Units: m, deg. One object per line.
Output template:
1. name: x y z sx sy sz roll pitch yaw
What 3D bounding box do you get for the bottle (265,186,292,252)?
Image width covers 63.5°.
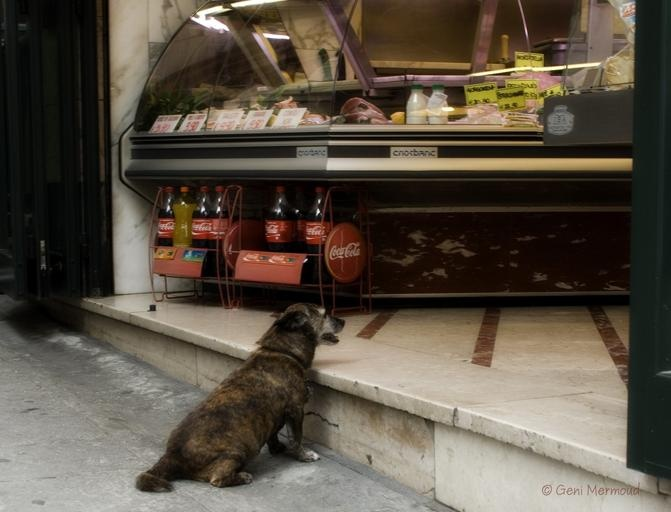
1. bottle: -0.396 -0.274 3.922 0.184 0.464 0.150 -2 6 -17

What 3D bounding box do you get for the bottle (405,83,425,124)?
1. bottle: 0.534 -0.990 3.554 0.133 0.265 0.099 0 6 4

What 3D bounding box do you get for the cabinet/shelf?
1. cabinet/shelf: -0.678 -0.071 4.267 1.828 0.743 0.712 2 10 35

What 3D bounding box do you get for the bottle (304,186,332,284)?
1. bottle: -0.130 -0.148 3.760 0.182 0.672 0.308 0 6 -1
